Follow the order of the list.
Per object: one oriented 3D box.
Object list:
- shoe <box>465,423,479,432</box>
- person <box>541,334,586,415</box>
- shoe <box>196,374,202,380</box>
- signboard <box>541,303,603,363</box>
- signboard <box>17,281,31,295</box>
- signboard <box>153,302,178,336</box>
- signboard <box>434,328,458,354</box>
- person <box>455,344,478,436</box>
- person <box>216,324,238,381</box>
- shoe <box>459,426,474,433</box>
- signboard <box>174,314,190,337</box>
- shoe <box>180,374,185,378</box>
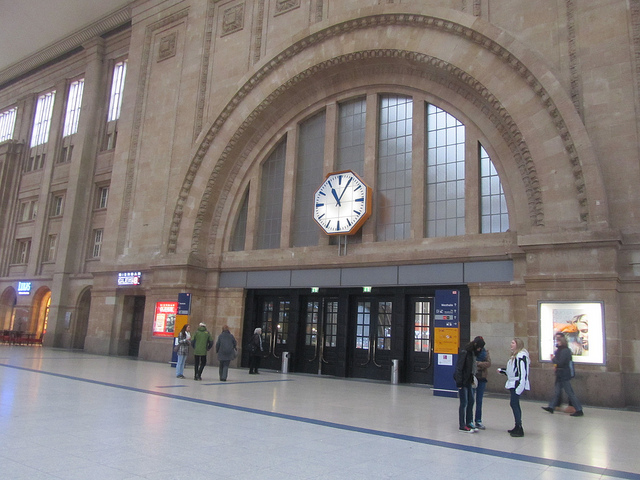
[{"bbox_3d":[3.240,4.072,10.531,0.136,0.166,0.400,4,-11,-27],"label":"shoe"},{"bbox_3d":[6.824,3.775,13.752,1.048,2.112,1.564,-5,-13,23],"label":"person"},{"bbox_3d":[-4.302,4.880,17.220,0.201,0.169,0.407,2,-13,-7],"label":"shoe"},{"bbox_3d":[7.646,2.800,14.672,1.713,1.766,0.159,-7,-14,30],"label":"signboard"},{"bbox_3d":[-19.628,3.226,32.189,1.284,0.810,0.358,-9,-15,35],"label":"signboard"},{"bbox_3d":[-7.220,3.733,22.712,1.568,1.680,0.156,-2,-5,36],"label":"signboard"},{"bbox_3d":[4.153,3.319,15.870,0.754,0.777,0.405,-5,-12,37],"label":"signboard"},{"bbox_3d":[3.176,3.229,10.508,0.427,1.875,0.576,-3,-13,14],"label":"person"},{"bbox_3d":[-3.411,4.113,17.616,0.678,1.913,0.858,3,-13,-11],"label":"person"},{"bbox_3d":[3.119,4.049,10.321,0.323,0.136,0.116,-9,-11,38],"label":"shoe"},{"bbox_3d":[-6.299,3.875,21.888,0.758,1.009,0.543,0,-12,4],"label":"signboard"},{"bbox_3d":[-4.984,4.935,17.517,0.125,0.155,0.379,12,-20,-40],"label":"shoe"}]
